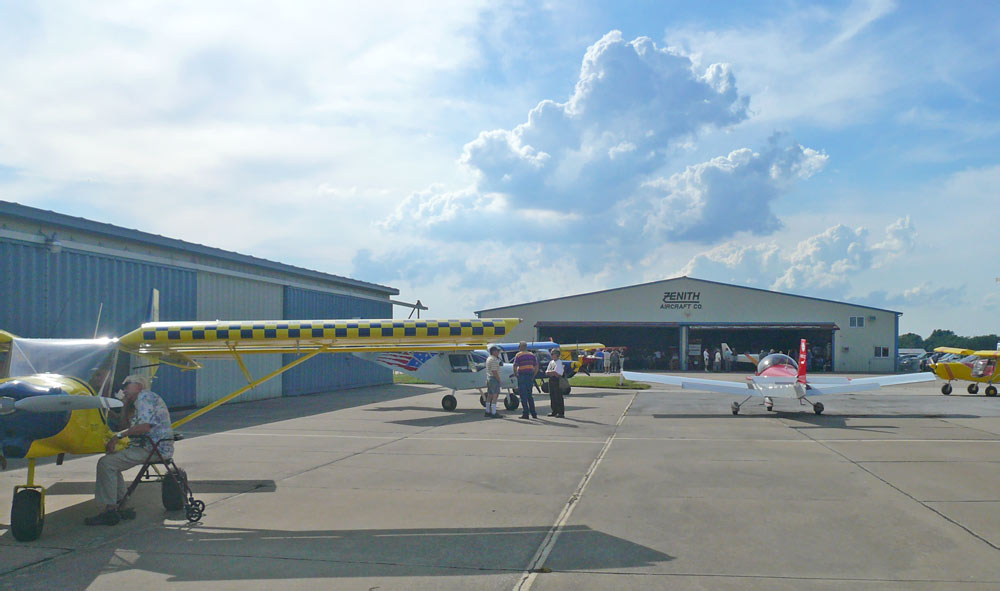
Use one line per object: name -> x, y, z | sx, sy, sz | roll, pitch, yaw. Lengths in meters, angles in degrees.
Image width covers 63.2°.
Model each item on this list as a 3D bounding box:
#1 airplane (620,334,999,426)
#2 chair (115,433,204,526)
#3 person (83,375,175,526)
airplane -> 7.610, 2.305, 22.642 | 7.047, 2.354, 3.712 | -2, 7, -17
chair -> -5.604, 3.007, 13.270 | 1.237, 1.162, 0.765 | -3, -1, -18
person -> -5.938, 2.431, 12.993 | 1.244, 2.254, 0.587 | -4, 8, -26
